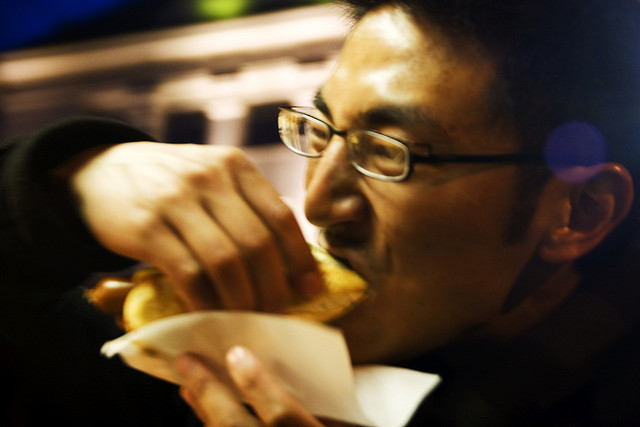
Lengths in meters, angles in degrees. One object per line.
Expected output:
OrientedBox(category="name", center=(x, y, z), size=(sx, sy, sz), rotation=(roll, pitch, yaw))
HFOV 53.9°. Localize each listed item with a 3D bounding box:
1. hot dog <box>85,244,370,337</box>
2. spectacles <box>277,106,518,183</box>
OrientedBox(category="hot dog", center=(-0.131, 0.093, 0.941), size=(0.465, 0.161, 0.142), rotation=(2, 0, -2))
OrientedBox(category="spectacles", center=(0.095, -0.091, 0.883), size=(0.347, 0.071, 0.070), rotation=(11, 33, 15))
